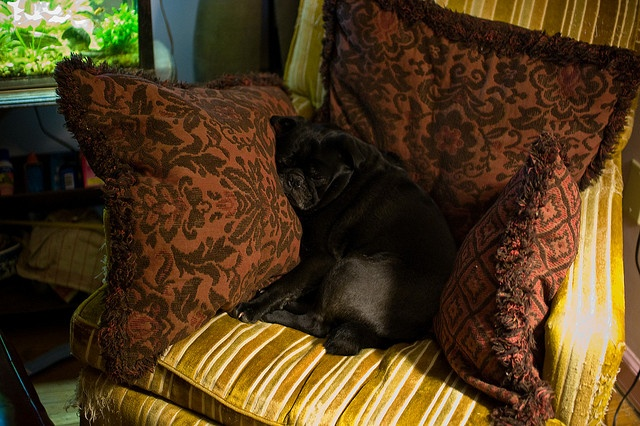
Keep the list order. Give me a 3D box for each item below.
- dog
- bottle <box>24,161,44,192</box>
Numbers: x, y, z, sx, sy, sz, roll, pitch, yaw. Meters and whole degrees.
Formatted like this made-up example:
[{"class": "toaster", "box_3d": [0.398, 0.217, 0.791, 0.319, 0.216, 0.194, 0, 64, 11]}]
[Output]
[{"class": "dog", "box_3d": [0.096, 0.087, 2.437, 0.920, 0.899, 0.593, 14, -10, 23]}, {"class": "bottle", "box_3d": [-1.399, -0.177, 2.910, 0.090, 0.118, 0.128, -11, 21, -25]}]
